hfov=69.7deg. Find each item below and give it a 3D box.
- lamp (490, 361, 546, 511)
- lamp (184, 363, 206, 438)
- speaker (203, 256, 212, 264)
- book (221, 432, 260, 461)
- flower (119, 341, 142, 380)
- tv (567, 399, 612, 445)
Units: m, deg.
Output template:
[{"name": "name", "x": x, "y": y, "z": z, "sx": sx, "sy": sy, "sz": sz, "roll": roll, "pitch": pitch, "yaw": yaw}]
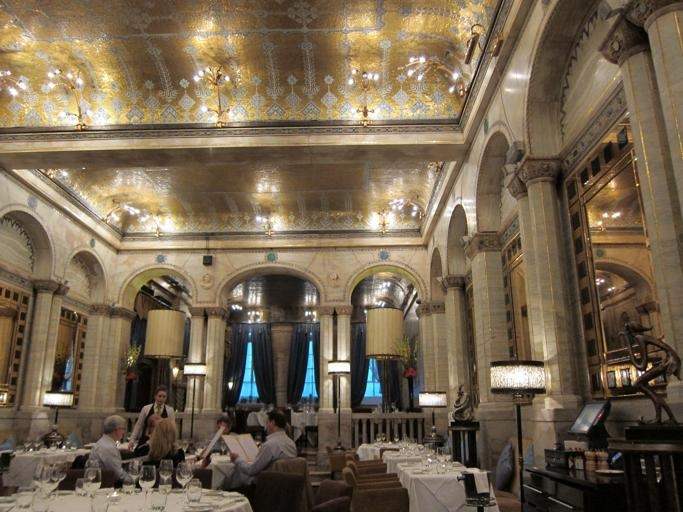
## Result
[{"name": "lamp", "x": 2.257, "y": 2.137, "z": 6.017, "sx": 0.609, "sy": 1.636, "sz": 1.927, "roll": -8, "pitch": -21, "yaw": 21}, {"name": "lamp", "x": -4.140, "y": 4.008, "z": 13.707, "sx": 0.561, "sy": 2.033, "sz": 0.973, "roll": 5, "pitch": -20, "yaw": -13}, {"name": "speaker", "x": -4.009, "y": 0.135, "z": 14.800, "sx": 0.268, "sy": 0.282, "sz": 0.266, "roll": 3, "pitch": -20, "yaw": -8}, {"name": "book", "x": -1.212, "y": 2.308, "z": 5.953, "sx": 0.113, "sy": 0.348, "sz": 0.388, "roll": -43, "pitch": -39, "yaw": 18}, {"name": "flower", "x": -7.033, "y": 3.686, "z": 16.497, "sx": 0.543, "sy": 1.383, "sz": 0.516, "roll": 5, "pitch": -3, "yaw": 1}, {"name": "tv", "x": 2.634, "y": 1.761, "z": 5.154, "sx": 0.377, "sy": 0.491, "sz": 0.537, "roll": 4, "pitch": -19, "yaw": 5}]
